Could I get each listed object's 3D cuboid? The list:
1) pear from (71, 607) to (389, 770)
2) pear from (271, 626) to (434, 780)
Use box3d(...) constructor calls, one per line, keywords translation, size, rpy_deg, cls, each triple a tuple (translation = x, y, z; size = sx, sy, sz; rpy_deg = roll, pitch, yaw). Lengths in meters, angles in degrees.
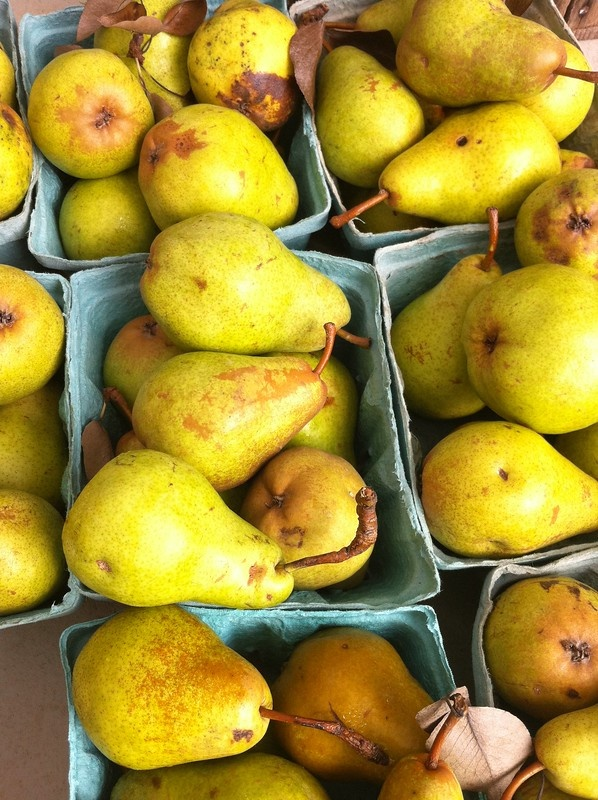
box3d(translation=(-0.148, 0.312, 0.890), size=(0.210, 0.088, 0.163), rpy_deg=(-11, 58, -3), cls="pear")
box3d(translation=(0.040, 0.340, 0.981), size=(0.199, 0.141, 0.137), rpy_deg=(29, 104, 8), cls="pear")
